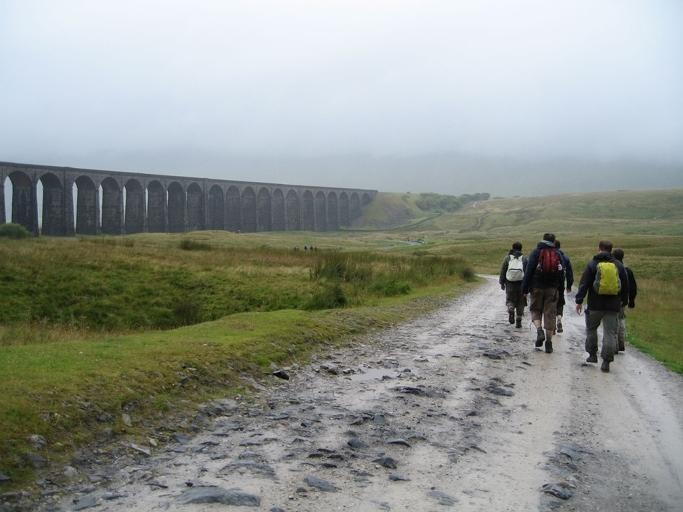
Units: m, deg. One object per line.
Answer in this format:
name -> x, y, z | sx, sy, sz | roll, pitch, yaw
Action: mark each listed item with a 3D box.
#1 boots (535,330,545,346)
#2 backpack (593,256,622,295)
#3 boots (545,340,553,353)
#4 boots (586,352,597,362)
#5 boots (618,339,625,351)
boots -> 4.381, 1.826, 12.216 | 0.199, 0.275, 0.426 | 1, -32, 7
backpack -> 5.249, 0.399, 11.238 | 0.596, 0.683, 0.410 | -6, 10, -9
boots -> 4.460, 1.923, 12.021 | 0.159, 0.245, 0.301 | 3, 10, 19
boots -> 4.947, 2.006, 11.078 | 0.193, 0.224, 0.307 | 3, 10, 20
boots -> 6.252, 1.982, 12.530 | 0.229, 0.203, 0.208 | -1, 0, 22
